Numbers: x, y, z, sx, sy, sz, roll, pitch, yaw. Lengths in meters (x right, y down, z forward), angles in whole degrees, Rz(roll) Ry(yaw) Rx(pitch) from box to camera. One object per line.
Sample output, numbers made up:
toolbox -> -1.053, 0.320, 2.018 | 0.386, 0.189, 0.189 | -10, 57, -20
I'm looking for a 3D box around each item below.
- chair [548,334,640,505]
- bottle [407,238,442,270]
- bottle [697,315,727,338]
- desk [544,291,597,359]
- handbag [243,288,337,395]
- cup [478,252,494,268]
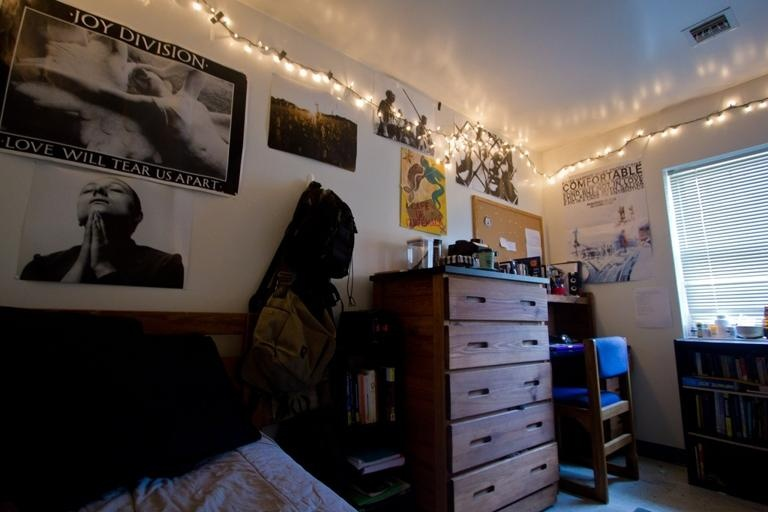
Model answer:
chair -> 1.686, 1.216, 4.192 | 0.494, 1.161, 0.769 | -4, -5, 41
bottle -> 0.300, -0.014, 4.183 | 0.220, 0.272, 0.263 | 1, 0, -40
bottle -> 2.697, 0.582, 4.367 | 0.177, 0.186, 0.182 | -1, 0, 2
desk -> 1.742, 0.667, 4.980 | 0.656, 0.663, 0.232 | 16, -32, -41
handbag -> -0.565, 0.547, 3.427 | 0.630, 0.639, 0.344 | -2, 16, -42
cup -> 0.777, 0.040, 4.010 | 0.104, 0.126, 0.109 | -2, -3, 0
